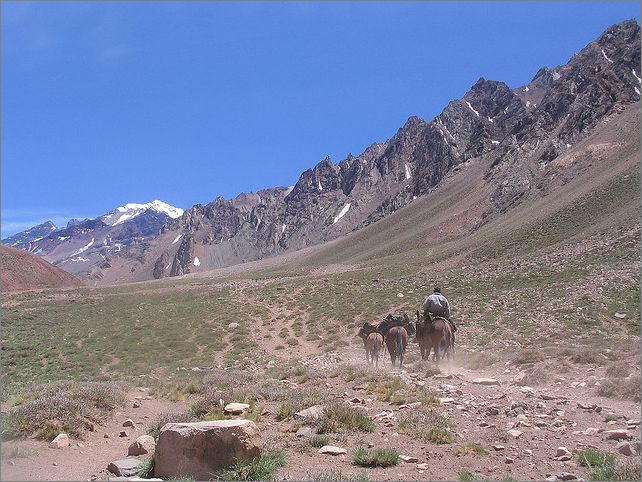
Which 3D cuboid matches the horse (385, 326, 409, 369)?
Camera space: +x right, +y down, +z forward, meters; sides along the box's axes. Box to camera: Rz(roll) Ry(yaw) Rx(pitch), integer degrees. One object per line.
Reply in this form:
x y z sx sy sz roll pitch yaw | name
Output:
4.732 6.623 31.484 1.270 2.495 1.394 1 -10 -2 | horse

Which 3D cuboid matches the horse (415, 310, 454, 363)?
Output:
6.925 6.229 30.817 1.279 3.380 4.986 4 -15 -7 | horse

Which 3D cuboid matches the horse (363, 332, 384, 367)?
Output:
3.391 6.988 32.488 1.183 2.040 2.902 0 -11 3 | horse
